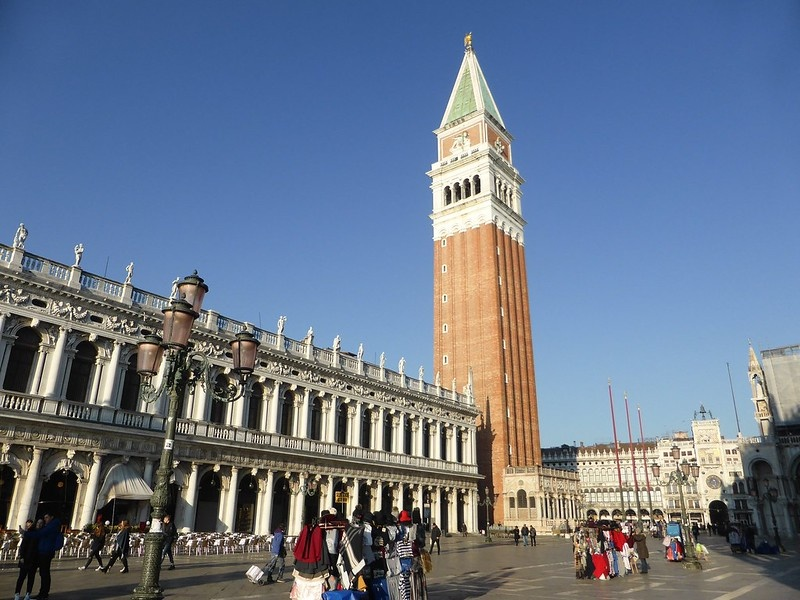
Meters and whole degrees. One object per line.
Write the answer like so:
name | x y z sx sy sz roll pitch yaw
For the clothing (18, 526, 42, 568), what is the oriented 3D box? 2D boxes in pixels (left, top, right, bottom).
clothing | -9.731 6.421 15.246 0.650 0.858 0.328 -15 -24 27

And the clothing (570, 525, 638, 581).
clothing | 8.148 10.008 23.218 2.172 2.755 1.315 -1 -21 2

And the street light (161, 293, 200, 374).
street light | -5.745 0.592 15.056 0.897 1.323 0.852 -1 -17 23

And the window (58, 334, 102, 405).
window | -16.573 3.659 30.293 1.187 3.032 0.731 11 -26 -32

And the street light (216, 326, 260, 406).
street light | -4.277 1.674 15.741 0.722 1.953 1.377 7 10 -19

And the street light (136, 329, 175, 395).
street light | -6.589 1.748 15.586 0.928 1.761 0.698 5 -27 -15
